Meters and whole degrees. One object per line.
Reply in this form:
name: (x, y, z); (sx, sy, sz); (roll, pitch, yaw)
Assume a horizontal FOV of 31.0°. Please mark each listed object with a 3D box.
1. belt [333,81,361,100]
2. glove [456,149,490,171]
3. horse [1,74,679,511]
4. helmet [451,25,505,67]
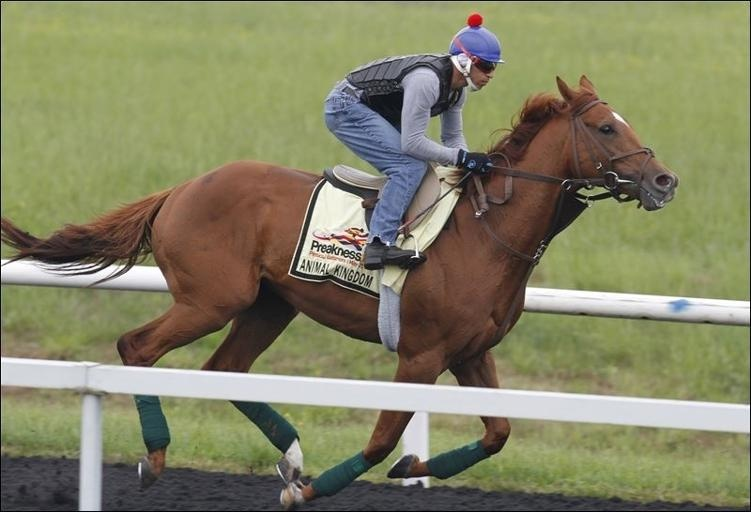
belt: (-0.208, -1.385, 11.384); (0.233, 0.136, 0.084); (24, 9, 28)
glove: (0.795, -0.782, 11.169); (0.265, 0.109, 0.139); (11, 65, -14)
horse: (-0.114, 0.233, 11.177); (4.729, 3.212, 1.731); (2, 35, -7)
helmet: (0.831, -1.745, 11.221); (0.398, 0.300, 0.267); (0, 22, -9)
